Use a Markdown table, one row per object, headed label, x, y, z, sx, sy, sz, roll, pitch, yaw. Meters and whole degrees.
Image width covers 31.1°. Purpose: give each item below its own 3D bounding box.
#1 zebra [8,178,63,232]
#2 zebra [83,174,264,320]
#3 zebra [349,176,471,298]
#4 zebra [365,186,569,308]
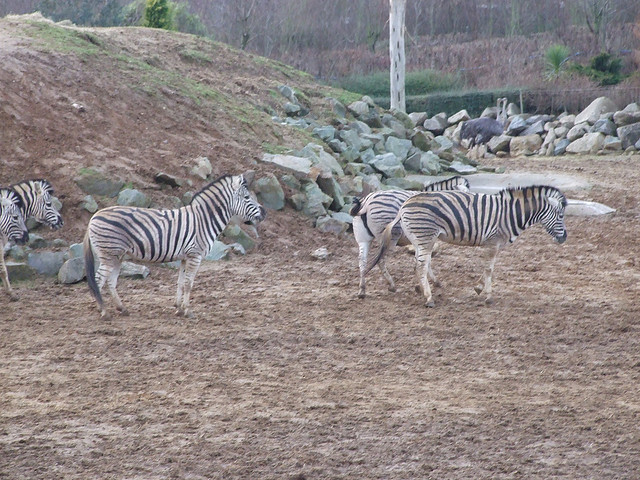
| label | x | y | z | sx | sy | sz | roll | pitch | yaw |
| --- | --- | --- | --- | --- | --- | --- | --- | --- | --- |
| zebra | -5.373 | -0.754 | 21.947 | 1.306 | 0.898 | 0.519 | 12 | 12 | -4 |
| zebra | -2.789 | 0.213 | 21.519 | 2.839 | 2.274 | 0.819 | 1 | -2 | -16 |
| zebra | 1.846 | -0.122 | 22.562 | 3.576 | 2.520 | 1.001 | -1 | 11 | -44 |
| zebra | 2.740 | 0.017 | 21.386 | 3.722 | 2.248 | 0.905 | 1 | 9 | -9 |
